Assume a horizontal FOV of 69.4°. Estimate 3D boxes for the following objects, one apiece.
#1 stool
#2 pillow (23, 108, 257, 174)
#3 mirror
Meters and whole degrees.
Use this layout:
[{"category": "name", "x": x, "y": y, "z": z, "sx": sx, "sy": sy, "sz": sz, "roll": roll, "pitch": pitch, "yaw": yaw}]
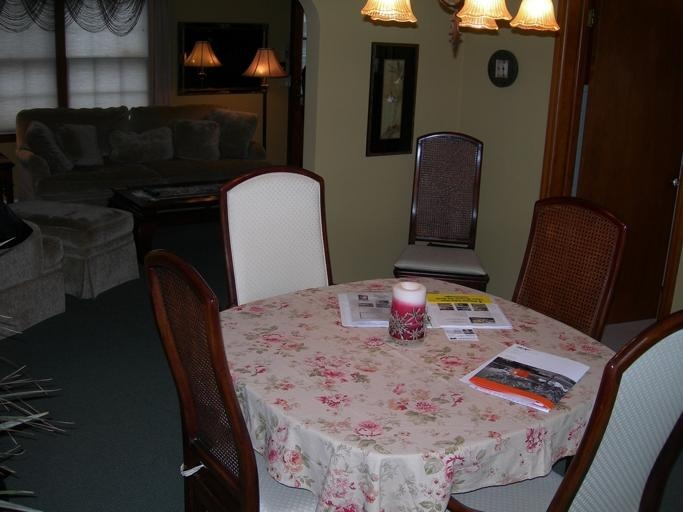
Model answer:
[{"category": "stool", "x": -2.234, "y": -0.063, "z": 4.180, "sx": 0.722, "sy": 0.669, "sz": 0.547, "roll": 6, "pitch": 17, "yaw": 14}, {"category": "pillow", "x": -2.517, "y": -1.363, "z": 5.935, "sx": 1.408, "sy": 0.584, "sz": 0.606, "roll": -8, "pitch": 41, "yaw": -18}, {"category": "mirror", "x": -1.783, "y": -2.846, "z": 7.044, "sx": 1.113, "sy": 0.863, "sz": 0.046, "roll": -6, "pitch": 15, "yaw": -26}]
